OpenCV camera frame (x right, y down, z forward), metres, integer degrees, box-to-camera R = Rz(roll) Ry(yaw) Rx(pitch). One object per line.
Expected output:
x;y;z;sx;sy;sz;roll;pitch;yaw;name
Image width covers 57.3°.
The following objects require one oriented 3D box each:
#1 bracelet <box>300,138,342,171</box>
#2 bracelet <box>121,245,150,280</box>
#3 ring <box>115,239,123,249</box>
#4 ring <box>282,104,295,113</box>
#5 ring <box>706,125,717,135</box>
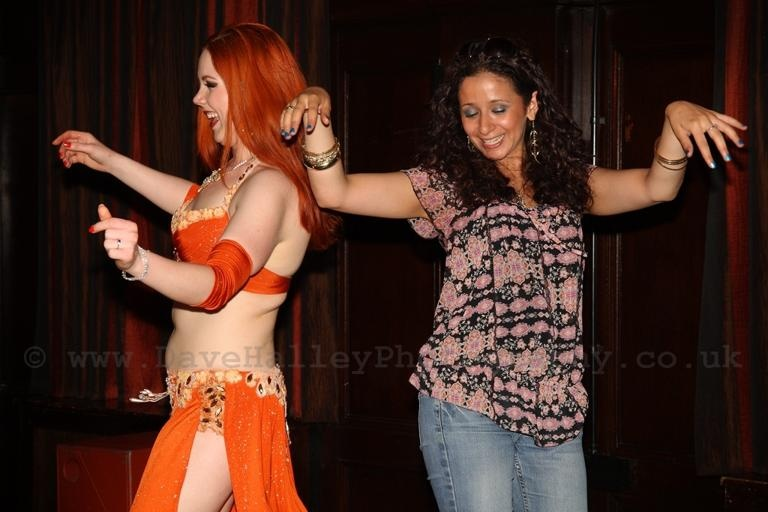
-0.254;-0.389;2.756;0.147;0.120;0.105;1;-5;-9;bracelet
-0.878;0.015;2.509;0.082;0.136;0.045;-3;5;2;bracelet
-0.917;-0.043;2.404;0.023;0.043;0.014;3;-32;-4;ring
-0.368;-0.567;2.679;0.035;0.045;0.060;2;-5;-25;ring
1.255;-0.487;2.696;0.023;0.012;0.033;-35;13;-1;ring
